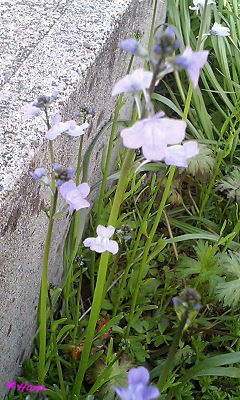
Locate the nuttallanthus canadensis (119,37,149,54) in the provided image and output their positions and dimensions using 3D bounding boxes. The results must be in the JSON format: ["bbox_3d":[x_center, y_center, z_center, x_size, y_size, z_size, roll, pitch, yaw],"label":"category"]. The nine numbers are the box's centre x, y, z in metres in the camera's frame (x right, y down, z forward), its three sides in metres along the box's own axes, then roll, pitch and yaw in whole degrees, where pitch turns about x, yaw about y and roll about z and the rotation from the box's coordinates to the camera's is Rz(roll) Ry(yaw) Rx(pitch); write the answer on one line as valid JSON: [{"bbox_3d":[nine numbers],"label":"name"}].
[{"bbox_3d":[0.010,-0.153,0.384,0.021,0.006,0.020,30,25,5],"label":"nuttallanthus canadensis"}]

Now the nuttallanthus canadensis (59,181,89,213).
[{"bbox_3d":[-0.072,-0.010,0.592,0.048,0.038,0.039,41,50,-32],"label":"nuttallanthus canadensis"}]

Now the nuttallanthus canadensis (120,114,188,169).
[{"bbox_3d":[0.032,-0.058,0.370,0.034,0.051,0.073,31,40,24],"label":"nuttallanthus canadensis"}]

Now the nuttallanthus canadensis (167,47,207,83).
[{"bbox_3d":[0.068,-0.133,0.370,0.017,0.033,0.037,-25,61,-41],"label":"nuttallanthus canadensis"}]

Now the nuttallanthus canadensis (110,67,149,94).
[{"bbox_3d":[0.006,-0.129,0.426,0.035,0.035,0.011,24,12,5],"label":"nuttallanthus canadensis"}]

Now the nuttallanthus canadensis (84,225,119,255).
[{"bbox_3d":[-0.037,0.084,0.743,0.063,0.024,0.057,5,79,1],"label":"nuttallanthus canadensis"}]
